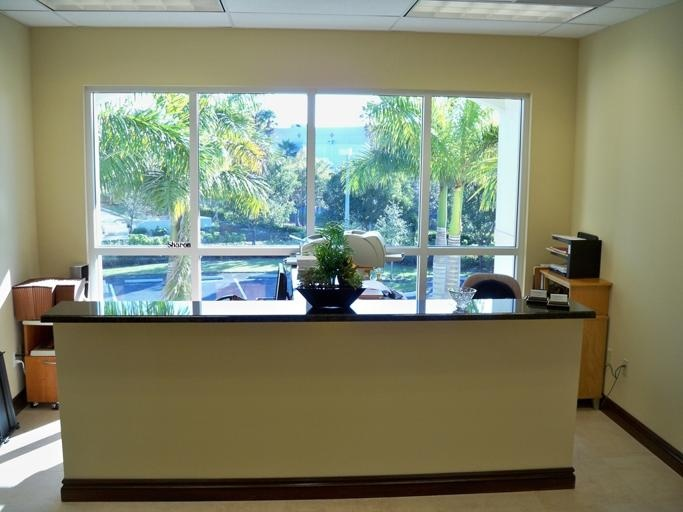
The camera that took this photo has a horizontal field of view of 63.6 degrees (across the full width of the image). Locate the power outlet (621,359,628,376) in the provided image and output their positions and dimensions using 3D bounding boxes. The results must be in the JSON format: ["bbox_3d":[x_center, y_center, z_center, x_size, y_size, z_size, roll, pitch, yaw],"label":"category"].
[{"bbox_3d":[2.502,0.987,4.885,0.050,0.106,0.056,0,10,-7],"label":"power outlet"}]

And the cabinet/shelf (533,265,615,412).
[{"bbox_3d":[1.895,0.690,4.414,0.412,1.110,1.149,1,7,5],"label":"cabinet/shelf"}]

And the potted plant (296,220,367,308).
[{"bbox_3d":[-0.073,0.063,3.930,0.513,0.754,0.503,0,0,-3],"label":"potted plant"}]

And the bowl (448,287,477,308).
[{"bbox_3d":[0.838,0.287,3.860,0.146,0.111,0.151,0,2,0],"label":"bowl"}]

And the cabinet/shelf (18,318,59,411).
[{"bbox_3d":[-2.794,0.973,5.074,0.253,0.800,0.420,-5,9,-30],"label":"cabinet/shelf"}]
